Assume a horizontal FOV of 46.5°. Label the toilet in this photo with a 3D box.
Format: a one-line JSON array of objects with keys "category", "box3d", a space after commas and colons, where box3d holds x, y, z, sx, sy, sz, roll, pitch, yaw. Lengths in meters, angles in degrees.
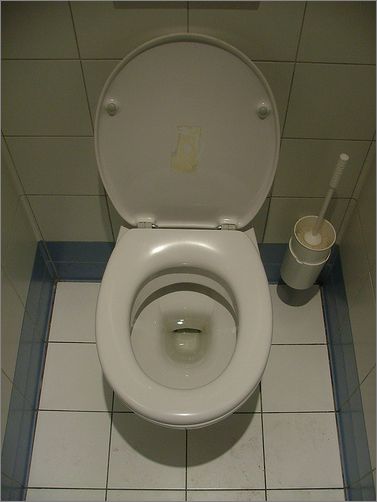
[{"category": "toilet", "box3d": [-0.009, 0.041, 0.884, 0.382, 0.693, 0.485, 2, 52, 1]}]
